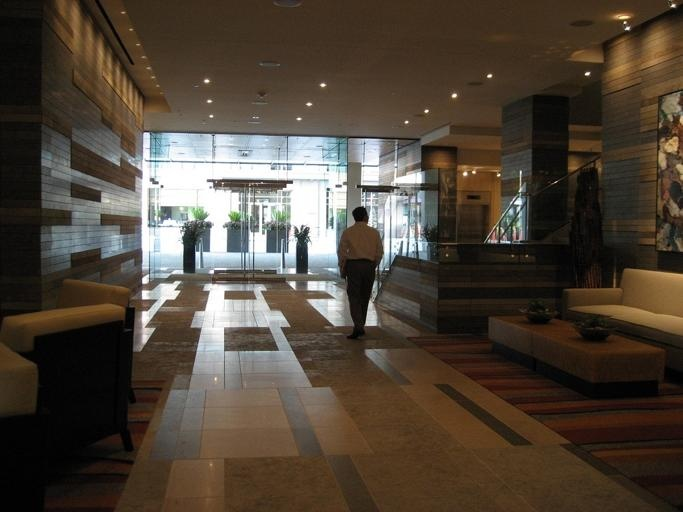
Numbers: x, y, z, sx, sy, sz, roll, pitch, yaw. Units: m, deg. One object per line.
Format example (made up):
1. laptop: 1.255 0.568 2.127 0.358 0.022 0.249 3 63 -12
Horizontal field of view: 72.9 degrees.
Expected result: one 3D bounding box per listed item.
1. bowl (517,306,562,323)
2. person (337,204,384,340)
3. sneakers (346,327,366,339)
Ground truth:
1. bowl: 2.244 0.670 5.232 0.241 0.082 0.234 -1 4 0
2. person: 0.238 0.338 6.448 0.611 1.605 0.205 1 3 0
3. sneakers: 0.195 1.088 6.558 0.294 0.200 0.110 2 2 -4
